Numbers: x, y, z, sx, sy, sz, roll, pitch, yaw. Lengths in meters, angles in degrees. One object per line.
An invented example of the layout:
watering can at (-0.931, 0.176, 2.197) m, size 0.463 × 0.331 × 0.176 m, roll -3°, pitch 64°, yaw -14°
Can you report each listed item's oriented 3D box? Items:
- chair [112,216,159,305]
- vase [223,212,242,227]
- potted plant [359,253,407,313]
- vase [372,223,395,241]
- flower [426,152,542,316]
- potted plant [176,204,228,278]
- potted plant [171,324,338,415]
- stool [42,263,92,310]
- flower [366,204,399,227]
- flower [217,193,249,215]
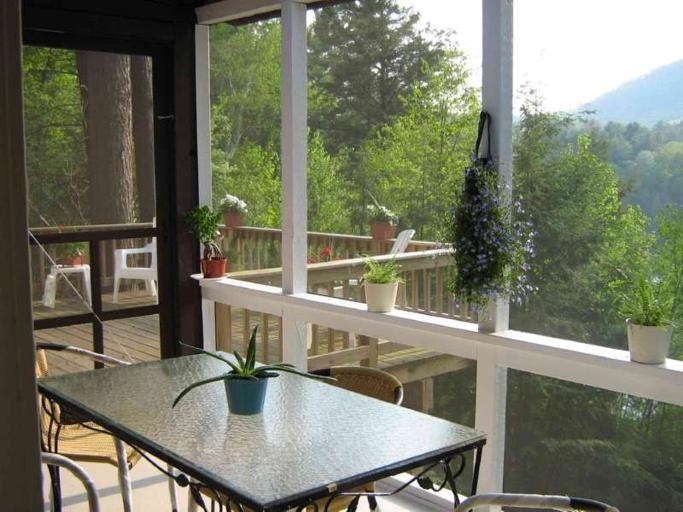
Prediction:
chair at (-1.569, 0.067, 4.954) m, size 0.423 × 0.865 × 0.567 m, roll 3°, pitch -3°, yaw -22°
vase at (-1.102, -0.372, 6.402) m, size 0.135 × 0.105 × 0.146 m, roll 4°, pitch -1°, yaw -15°
potted plant at (0.247, 0.165, 3.817) m, size 0.225 × 0.322 × 0.311 m, roll 0°, pitch 9°, yaw 5°
vase at (0.447, -0.276, 7.053) m, size 0.182 × 0.149 × 0.198 m, roll 1°, pitch 1°, yaw 23°
flower at (0.751, -0.120, 3.241) m, size 0.452 × 0.785 × 0.302 m, roll 2°, pitch 9°, yaw 16°
potted plant at (-1.045, -0.114, 4.796) m, size 0.299 × 0.540 × 0.251 m, roll -4°, pitch 9°, yaw -16°
potted plant at (-0.385, 0.493, 2.662) m, size 0.385 × 0.234 × 0.451 m, roll 2°, pitch 1°, yaw -9°
stool at (-1.898, 0.203, 4.359) m, size 0.247 × 0.269 × 0.265 m, roll 0°, pitch 3°, yaw -21°
flower at (0.472, -0.475, 7.211) m, size 0.275 × 0.204 × 0.475 m, roll -2°, pitch 9°, yaw -4°
flower at (-1.123, -0.530, 6.435) m, size 0.255 × 0.174 × 0.257 m, roll 14°, pitch 7°, yaw 44°
